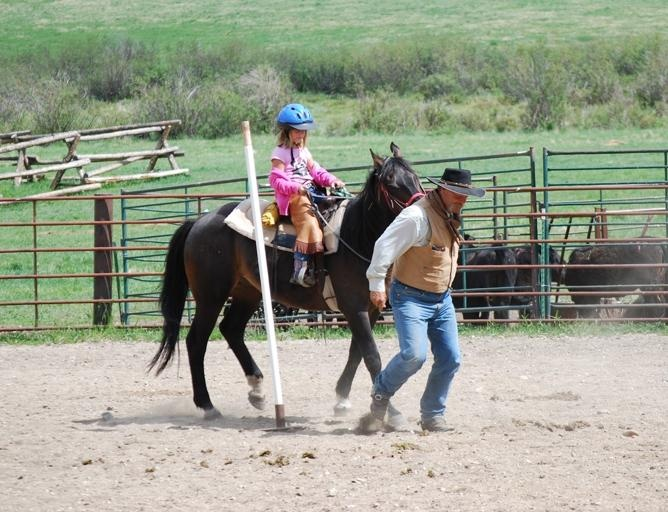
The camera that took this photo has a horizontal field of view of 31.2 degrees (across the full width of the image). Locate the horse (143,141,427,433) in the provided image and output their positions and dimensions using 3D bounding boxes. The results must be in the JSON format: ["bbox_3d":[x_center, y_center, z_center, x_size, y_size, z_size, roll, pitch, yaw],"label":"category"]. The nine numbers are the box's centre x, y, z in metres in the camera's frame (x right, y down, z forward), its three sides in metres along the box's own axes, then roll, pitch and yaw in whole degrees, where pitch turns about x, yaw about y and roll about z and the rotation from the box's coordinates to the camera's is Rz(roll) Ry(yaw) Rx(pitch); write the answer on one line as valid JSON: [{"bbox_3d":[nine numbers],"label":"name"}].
[{"bbox_3d":[-0.297,0.510,18.017,5.470,3.689,1.318,-3,-4,29],"label":"horse"}]

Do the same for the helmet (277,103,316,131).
[{"bbox_3d":[-0.605,-2.060,17.807,0.372,0.235,0.516,-7,8,-43],"label":"helmet"}]

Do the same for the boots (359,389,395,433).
[{"bbox_3d":[0.610,2.260,17.179,0.289,0.490,0.802,-3,6,-25],"label":"boots"}]

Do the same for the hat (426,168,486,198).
[{"bbox_3d":[1.750,-1.036,16.904,0.781,0.386,0.354,-1,5,5],"label":"hat"}]

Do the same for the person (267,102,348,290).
[{"bbox_3d":[-0.475,-0.907,17.835,0.936,2.690,0.605,-1,5,-1],"label":"person"}]
